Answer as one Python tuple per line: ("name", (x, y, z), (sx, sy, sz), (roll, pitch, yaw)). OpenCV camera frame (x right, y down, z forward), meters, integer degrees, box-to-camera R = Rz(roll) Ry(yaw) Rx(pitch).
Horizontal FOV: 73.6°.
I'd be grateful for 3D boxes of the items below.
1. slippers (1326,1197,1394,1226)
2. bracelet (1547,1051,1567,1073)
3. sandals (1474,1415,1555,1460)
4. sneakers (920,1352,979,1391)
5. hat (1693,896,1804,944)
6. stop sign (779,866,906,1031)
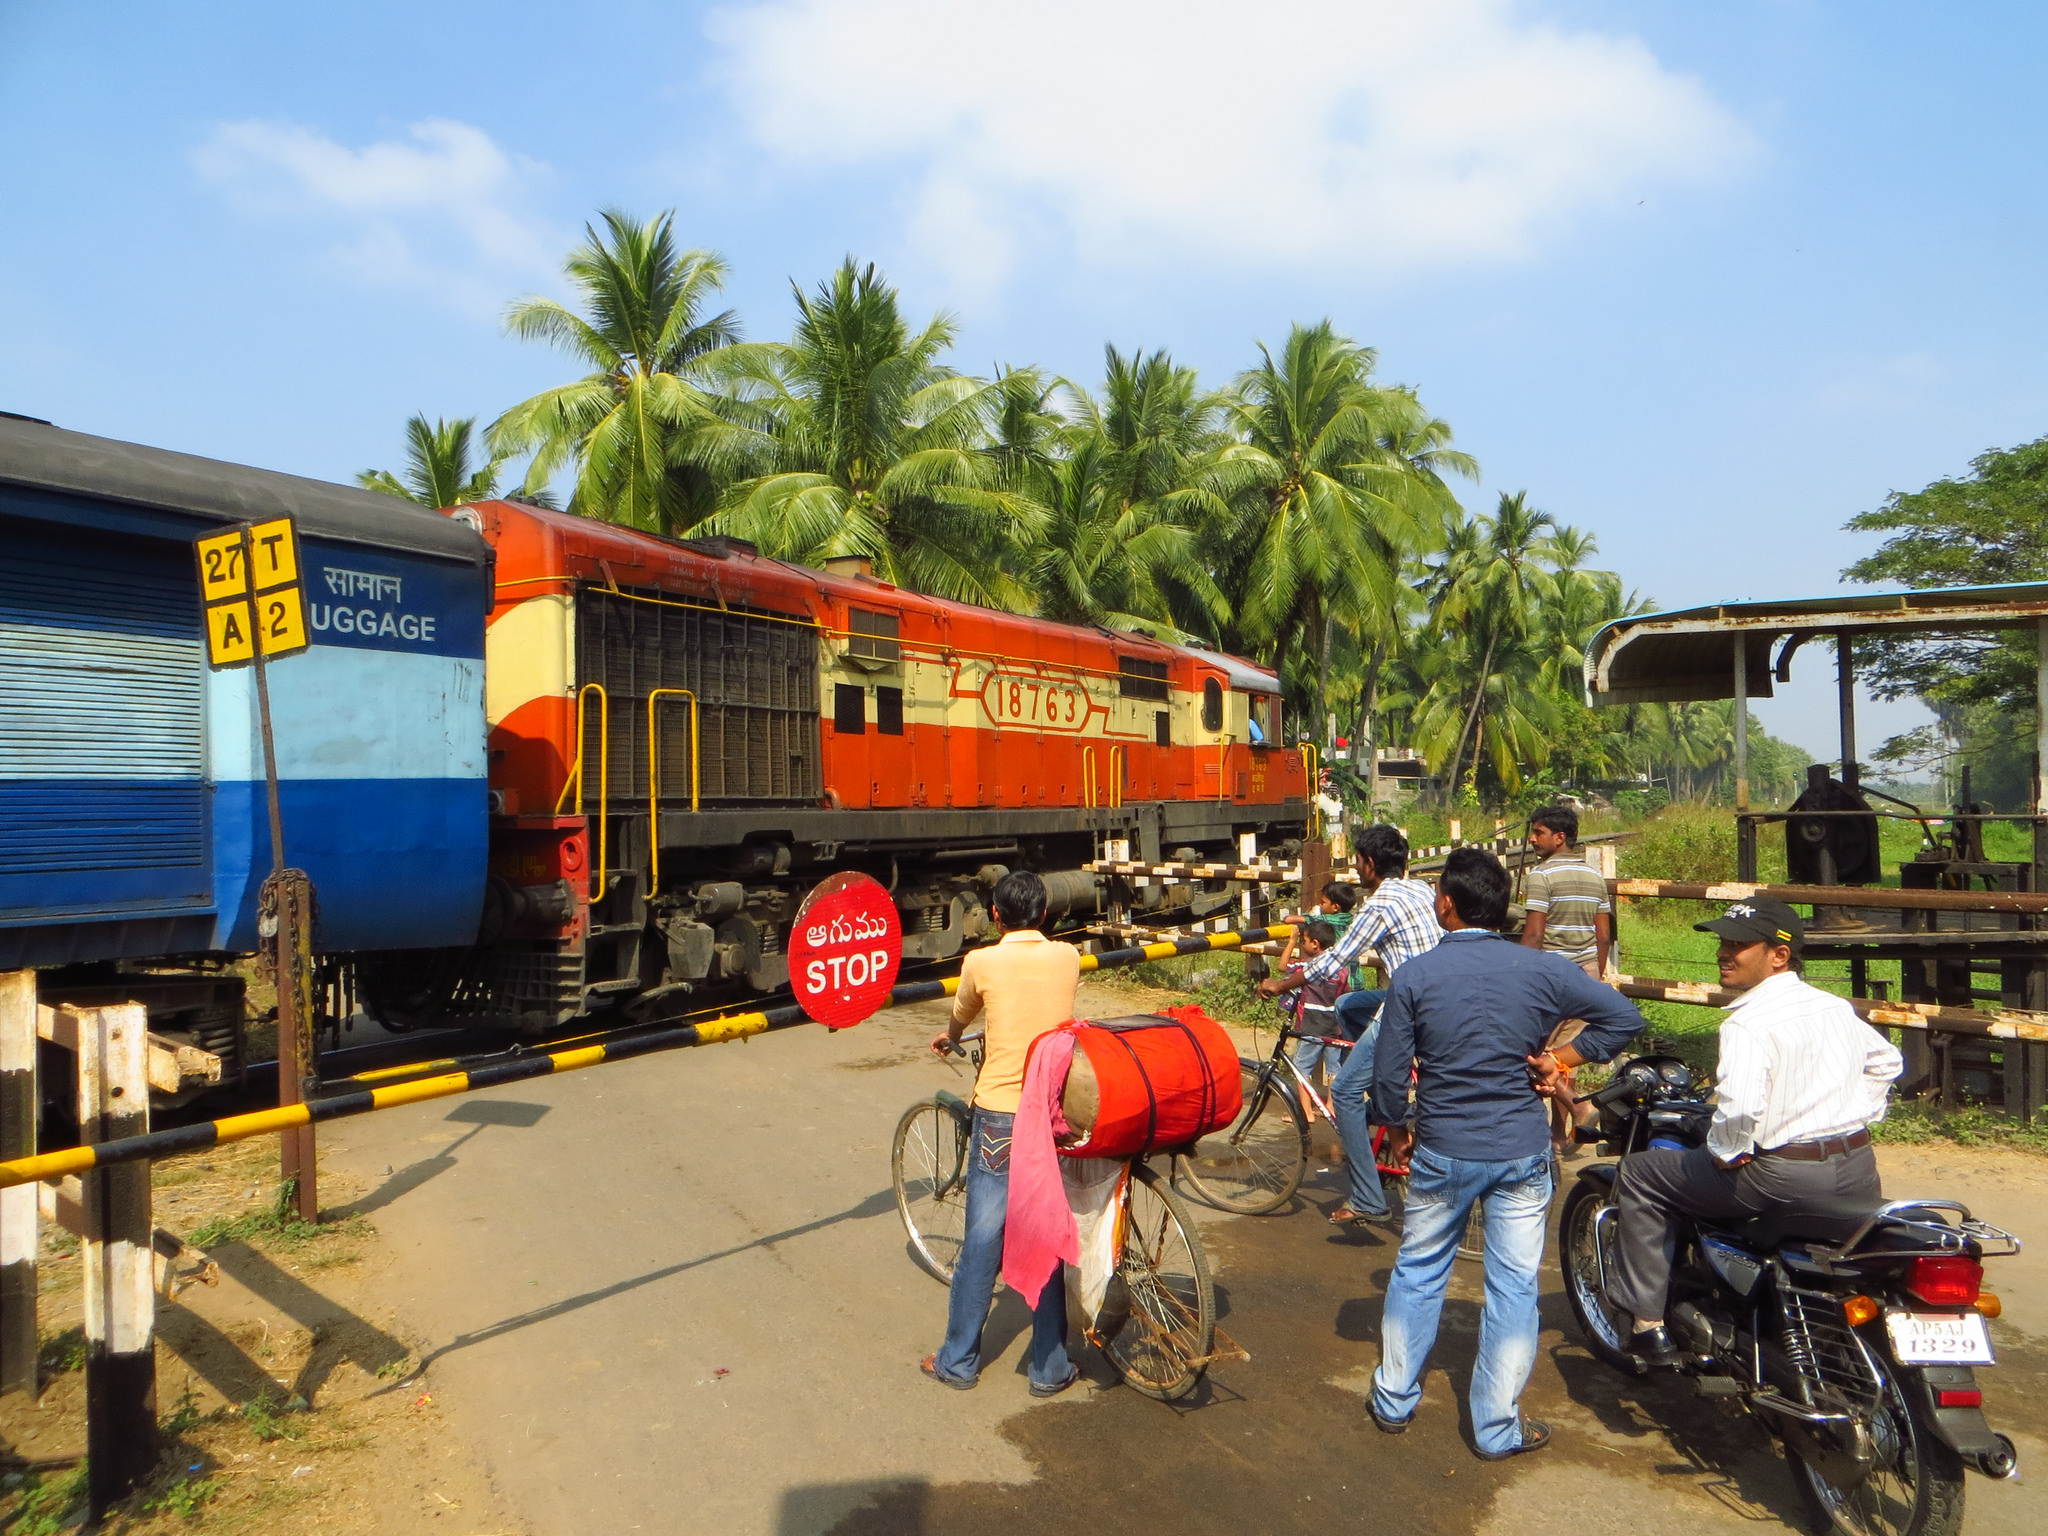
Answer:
("slippers", (1.832, 2.420, 7.478), (0.350, 0.170, 0.138), (2, -4, 9))
("bracelet", (2.161, 1.181, 5.544), (0.062, 0.026, 0.062), (32, 3, 1))
("sandals", (1.993, 2.710, 5.558), (0.337, 0.157, 0.125), (-4, 4, -33))
("sneakers", (-0.339, 2.638, 6.043), (0.207, 0.084, 0.108), (1, -1, 28))
("hat", (2.945, 0.613, 5.473), (0.272, 0.160, 0.203), (3, -6, -2))
("stop sign", (-0.898, 0.953, 6.963), (0.247, 0.751, 0.735), (3, 7, 29))
